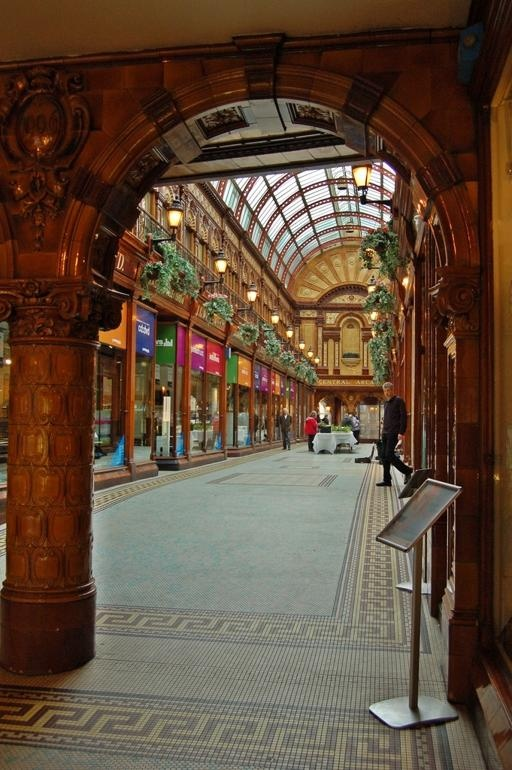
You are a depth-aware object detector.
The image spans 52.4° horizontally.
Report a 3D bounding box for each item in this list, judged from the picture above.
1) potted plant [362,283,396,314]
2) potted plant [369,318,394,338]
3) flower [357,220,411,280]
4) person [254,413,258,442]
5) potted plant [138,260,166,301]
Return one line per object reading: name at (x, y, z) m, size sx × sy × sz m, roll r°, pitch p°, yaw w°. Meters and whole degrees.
potted plant at (3.081, -2.116, 12.919) m, size 0.721 × 0.847 × 0.694 m, roll 0°, pitch 6°, yaw -5°
potted plant at (3.772, -1.711, 15.658) m, size 0.642 × 0.729 × 0.671 m, roll 6°, pitch 10°, yaw 20°
flower at (2.404, -2.677, 10.015) m, size 0.710 × 1.154 × 0.868 m, roll 2°, pitch -6°, yaw -7°
person at (-0.033, 2.039, 25.592) m, size 0.183 × 1.154 × 0.366 m, roll -1°, pitch 3°, yaw 3°
potted plant at (-2.373, -2.381, 11.921) m, size 0.290 × 0.835 × 0.648 m, roll 2°, pitch 6°, yaw 29°
